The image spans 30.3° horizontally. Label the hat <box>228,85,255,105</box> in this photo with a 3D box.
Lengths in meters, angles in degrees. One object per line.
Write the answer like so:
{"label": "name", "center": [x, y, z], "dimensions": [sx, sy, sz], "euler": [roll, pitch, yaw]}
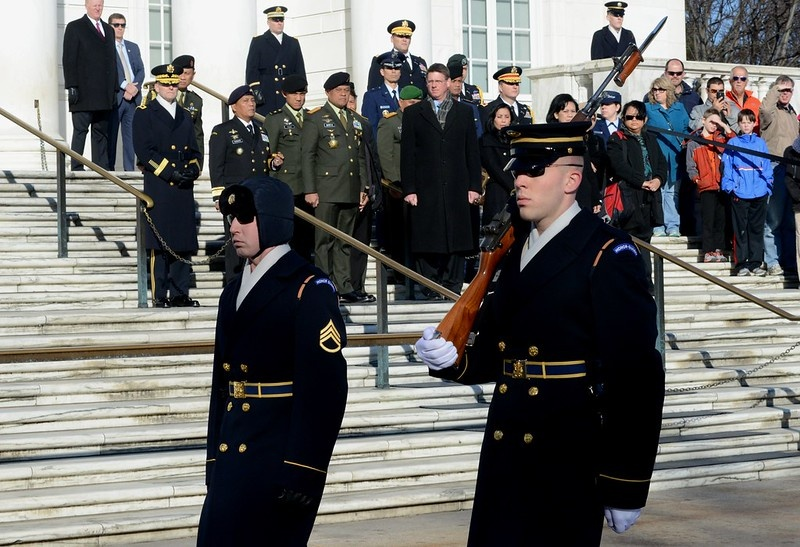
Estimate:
{"label": "hat", "center": [-1.688, -1.895, 15.512], "dimensions": [0.262, 0.091, 0.229], "euler": [-30, 2, 16]}

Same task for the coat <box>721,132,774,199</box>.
{"label": "coat", "center": [4.110, -1.282, 17.516], "dimensions": [0.878, 0.916, 0.508], "euler": [0, -1, -8]}

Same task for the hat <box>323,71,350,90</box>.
{"label": "hat", "center": [-0.674, -2.099, 15.929], "dimensions": [0.209, 0.084, 0.231], "euler": [-21, 5, -37]}

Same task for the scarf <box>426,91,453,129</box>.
{"label": "scarf", "center": [0.433, -1.772, 15.901], "dimensions": [0.302, 0.403, 0.100], "euler": [-4, 0, -11]}

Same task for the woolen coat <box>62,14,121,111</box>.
{"label": "woolen coat", "center": [-3.655, -2.519, 17.538], "dimensions": [0.648, 1.125, 0.594], "euler": [-2, 9, -22]}

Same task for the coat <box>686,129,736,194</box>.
{"label": "coat", "center": [3.775, -1.378, 17.762], "dimensions": [0.760, 0.883, 0.485], "euler": [1, -11, -11]}

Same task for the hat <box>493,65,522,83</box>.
{"label": "hat", "center": [1.231, -2.280, 16.823], "dimensions": [0.281, 0.148, 0.314], "euler": [0, -2, -25]}

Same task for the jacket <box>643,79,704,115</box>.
{"label": "jacket", "center": [3.734, -2.344, 19.631], "dimensions": [0.563, 0.504, 0.545], "euler": [4, -5, -37]}

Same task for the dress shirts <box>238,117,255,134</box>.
{"label": "dress shirts", "center": [-1.582, -1.583, 15.535], "dimensions": [0.155, 0.145, 0.036], "euler": [-6, -12, -30]}

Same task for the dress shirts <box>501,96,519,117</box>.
{"label": "dress shirts", "center": [1.290, -1.944, 16.856], "dimensions": [0.153, 0.076, 0.231], "euler": [-9, -23, 23]}

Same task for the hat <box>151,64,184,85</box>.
{"label": "hat", "center": [-2.451, -2.104, 15.528], "dimensions": [0.274, 0.167, 0.308], "euler": [-1, 2, -22]}

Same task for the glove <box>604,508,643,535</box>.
{"label": "glove", "center": [1.485, 1.629, 9.678], "dimensions": [0.244, 0.210, 0.171], "euler": [-5, 10, -36]}

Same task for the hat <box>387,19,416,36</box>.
{"label": "hat", "center": [0.028, -2.973, 17.651], "dimensions": [0.280, 0.138, 0.292], "euler": [-1, -3, -15]}

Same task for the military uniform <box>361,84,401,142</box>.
{"label": "military uniform", "center": [-0.096, -1.974, 17.115], "dimensions": [0.534, 0.725, 0.303], "euler": [-15, 47, -4]}

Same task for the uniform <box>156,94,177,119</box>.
{"label": "uniform", "center": [-2.444, -1.779, 15.487], "dimensions": [0.189, 0.150, 0.230], "euler": [-10, 34, -42]}
